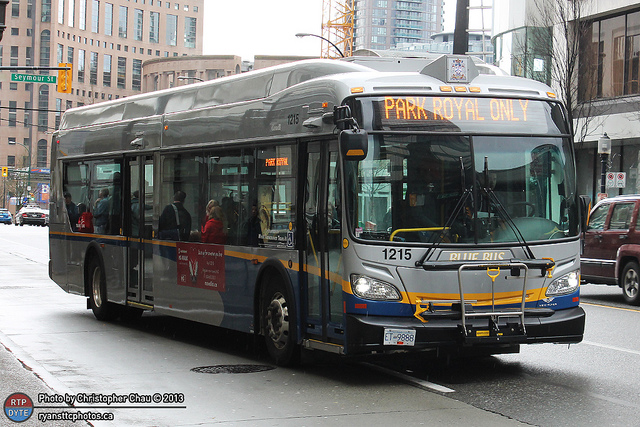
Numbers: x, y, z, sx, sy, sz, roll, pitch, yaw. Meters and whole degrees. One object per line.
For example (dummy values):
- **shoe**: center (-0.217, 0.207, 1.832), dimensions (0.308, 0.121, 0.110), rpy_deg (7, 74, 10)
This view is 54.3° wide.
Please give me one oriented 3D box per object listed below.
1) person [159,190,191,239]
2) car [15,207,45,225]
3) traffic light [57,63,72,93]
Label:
- **person**: center (-2.555, 0.056, 11.352), dimensions (0.529, 0.359, 1.223), rpy_deg (5, -43, -11)
- **car**: center (-34.287, 0.236, 74.285), dimensions (3.898, 2.055, 1.563), rpy_deg (0, 0, 38)
- **traffic light**: center (-14.328, -7.540, 35.084), dimensions (0.516, 1.663, 0.786), rpy_deg (13, 31, 21)
